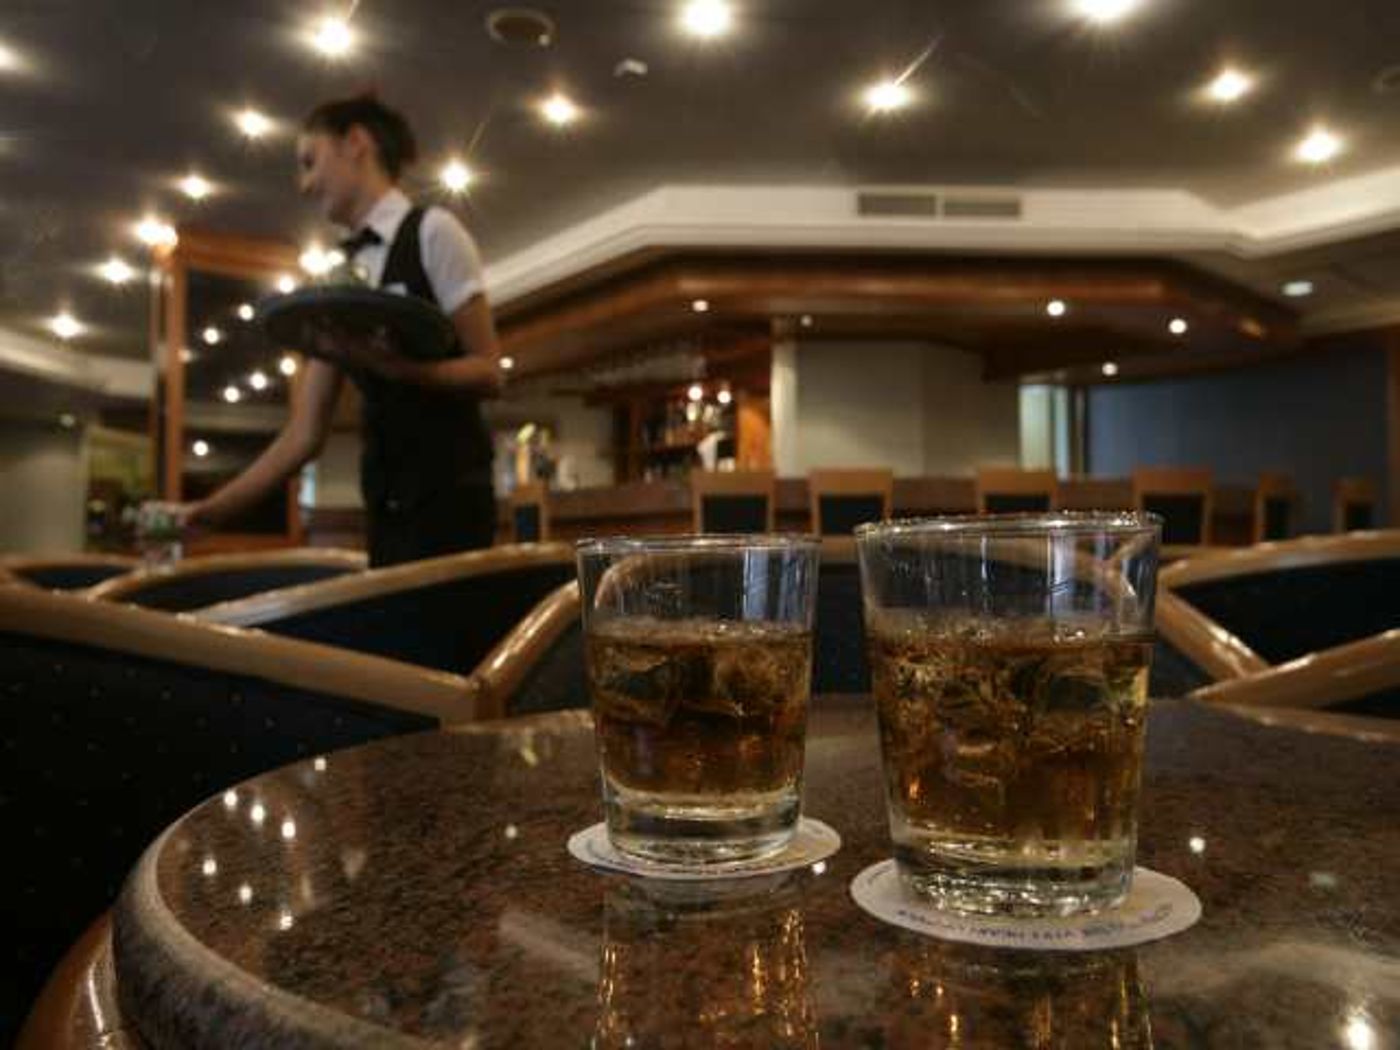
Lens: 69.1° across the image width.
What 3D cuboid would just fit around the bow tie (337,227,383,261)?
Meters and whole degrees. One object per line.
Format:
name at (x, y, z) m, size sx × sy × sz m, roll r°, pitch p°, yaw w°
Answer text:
bow tie at (-0.580, -0.497, 1.759) m, size 0.062 × 0.032 × 0.085 m, roll -5°, pitch -1°, yaw -35°

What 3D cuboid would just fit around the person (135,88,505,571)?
person at (-0.531, -0.334, 1.700) m, size 0.438 × 0.812 × 0.399 m, roll 1°, pitch 4°, yaw 21°

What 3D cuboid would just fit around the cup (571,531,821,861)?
cup at (0.004, 0.074, 0.433) m, size 0.108 × 0.130 × 0.110 m, roll -1°, pitch -6°, yaw 0°
